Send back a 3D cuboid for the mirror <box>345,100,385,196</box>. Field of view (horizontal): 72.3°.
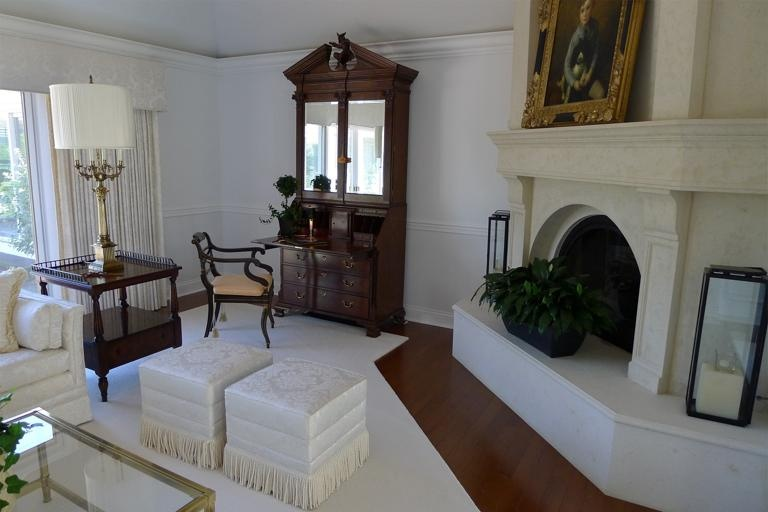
[{"bbox_3d":[-0.204,-1.154,5.622,0.432,0.963,0.107,5,13,21],"label":"mirror"}]

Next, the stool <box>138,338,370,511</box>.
[{"bbox_3d":[-0.809,0.698,3.660,1.529,0.695,0.900,8,19,27],"label":"stool"}]

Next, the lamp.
[{"bbox_3d":[-2.608,-0.736,4.743,0.608,1.642,1.119,-7,14,-32],"label":"lamp"}]

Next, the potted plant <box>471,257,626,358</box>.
[{"bbox_3d":[1.261,0.249,4.152,0.768,0.529,0.913,-7,9,-19],"label":"potted plant"}]
